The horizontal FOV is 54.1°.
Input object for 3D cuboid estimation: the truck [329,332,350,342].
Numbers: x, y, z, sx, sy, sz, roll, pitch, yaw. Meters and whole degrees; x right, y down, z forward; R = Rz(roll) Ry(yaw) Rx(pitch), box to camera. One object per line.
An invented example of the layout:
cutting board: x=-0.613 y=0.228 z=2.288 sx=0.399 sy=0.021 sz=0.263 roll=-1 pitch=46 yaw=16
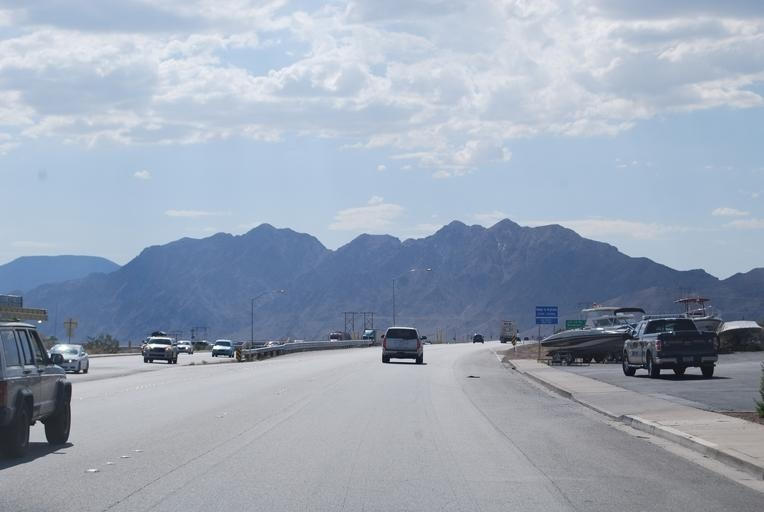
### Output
truck: x=-6.695 y=12.989 z=119.850 sx=3.168 sy=1.428 sz=15.492 roll=-2 pitch=-7 yaw=-4

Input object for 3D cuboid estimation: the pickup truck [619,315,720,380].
pickup truck: x=12.007 y=3.893 z=31.625 sx=2.205 sy=2.367 sz=5.452 roll=0 pitch=-4 yaw=7

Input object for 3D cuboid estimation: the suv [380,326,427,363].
suv: x=1.258 y=5.708 z=47.217 sx=2.355 sy=2.260 sz=1.239 roll=-4 pitch=-5 yaw=15
